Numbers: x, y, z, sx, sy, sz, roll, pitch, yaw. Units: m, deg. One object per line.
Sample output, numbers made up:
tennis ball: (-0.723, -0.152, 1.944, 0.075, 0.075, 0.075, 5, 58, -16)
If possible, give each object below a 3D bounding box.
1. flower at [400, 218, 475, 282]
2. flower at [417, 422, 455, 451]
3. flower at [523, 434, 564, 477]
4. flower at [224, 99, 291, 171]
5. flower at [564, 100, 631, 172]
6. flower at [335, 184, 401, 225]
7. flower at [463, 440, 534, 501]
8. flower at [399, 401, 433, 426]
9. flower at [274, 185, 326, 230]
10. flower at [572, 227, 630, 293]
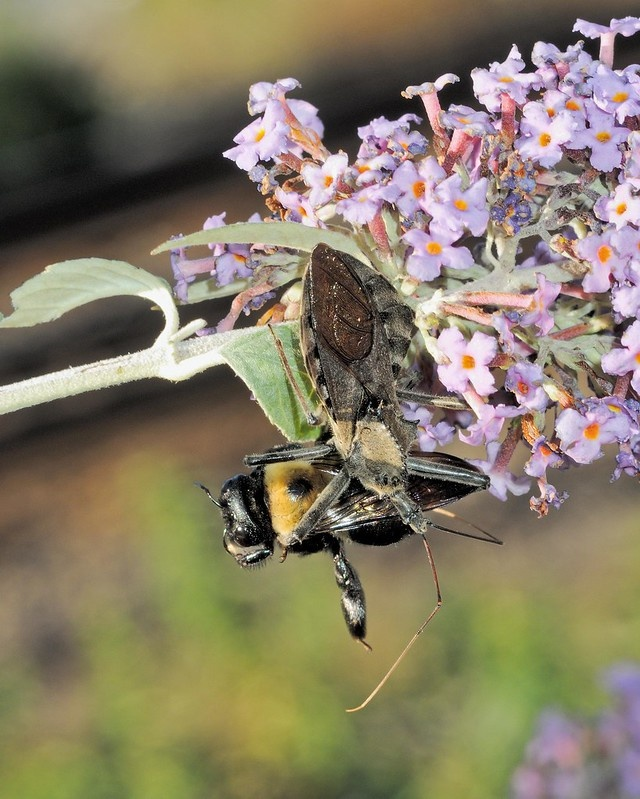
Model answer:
flower: (0.144, -0.191, 1.044, 0.084, 0.076, 0.086, -27, 37, -32)
flower: (0.195, 0.059, 1.329, 0.059, 0.025, 0.057, -13, 36, -44)
flower: (0.314, 0.078, 1.138, 0.068, 0.053, 0.022, -1, 10, -21)
flower: (-0.095, -0.394, 1.234, 0.109, 0.036, 0.109, -38, 2, -14)
flower: (0.383, -0.359, 1.102, 0.077, 0.088, 0.079, 23, 41, 38)
flower: (0.063, -0.258, 1.053, 0.069, 0.021, 0.071, -15, 10, 34)
flower: (0.312, 0.116, 1.342, 0.127, 0.100, 0.030, 10, 36, -5)
flower: (0.146, 0.023, 1.257, 0.045, 0.017, 0.038, 28, 14, 29)
flower: (-0.005, -0.283, 1.214, 0.088, 0.084, 0.026, 13, 61, 51)
flower: (0.365, -0.176, 1.021, 0.088, 0.073, 0.019, -18, -7, 23)
